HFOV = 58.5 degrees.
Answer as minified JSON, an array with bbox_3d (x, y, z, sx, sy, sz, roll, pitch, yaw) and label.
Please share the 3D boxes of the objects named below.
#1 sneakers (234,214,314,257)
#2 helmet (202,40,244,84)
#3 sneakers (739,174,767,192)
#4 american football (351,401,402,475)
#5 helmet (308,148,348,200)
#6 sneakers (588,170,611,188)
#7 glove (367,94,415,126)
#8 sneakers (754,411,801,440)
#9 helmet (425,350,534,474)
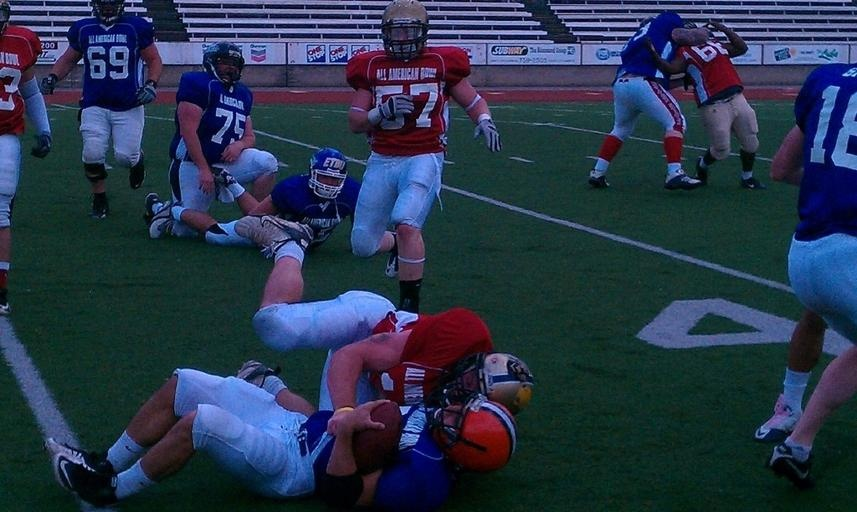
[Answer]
[{"bbox_3d":[-0.900,-0.115,4.511,0.395,0.221,0.167,17,-6,10],"label":"sneakers"},{"bbox_3d":[-2.017,-1.886,7.416,0.438,0.339,0.351,4,4,31],"label":"helmet"},{"bbox_3d":[4.066,-0.902,9.597,0.285,0.106,0.146,5,18,16],"label":"sneakers"},{"bbox_3d":[-0.221,0.880,3.802,0.349,0.262,0.253,-10,-13,11],"label":"american football"},{"bbox_3d":[-0.892,-0.756,6.719,0.347,0.355,0.442,7,23,-26],"label":"helmet"},{"bbox_3d":[2.125,-0.949,9.664,0.139,0.161,0.395,13,-1,42],"label":"sneakers"},{"bbox_3d":[-0.282,-1.084,5.741,0.338,0.242,0.195,3,13,-5],"label":"glove"},{"bbox_3d":[1.963,0.980,4.351,0.305,0.105,0.127,-21,-42,26],"label":"sneakers"},{"bbox_3d":[0.246,0.805,3.889,0.517,0.554,0.353,6,13,4],"label":"helmet"}]
